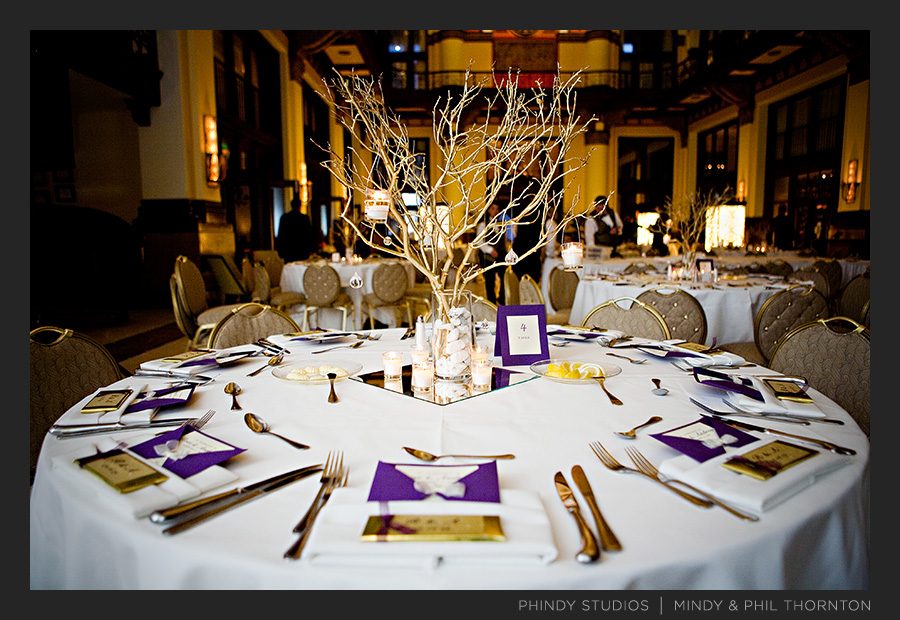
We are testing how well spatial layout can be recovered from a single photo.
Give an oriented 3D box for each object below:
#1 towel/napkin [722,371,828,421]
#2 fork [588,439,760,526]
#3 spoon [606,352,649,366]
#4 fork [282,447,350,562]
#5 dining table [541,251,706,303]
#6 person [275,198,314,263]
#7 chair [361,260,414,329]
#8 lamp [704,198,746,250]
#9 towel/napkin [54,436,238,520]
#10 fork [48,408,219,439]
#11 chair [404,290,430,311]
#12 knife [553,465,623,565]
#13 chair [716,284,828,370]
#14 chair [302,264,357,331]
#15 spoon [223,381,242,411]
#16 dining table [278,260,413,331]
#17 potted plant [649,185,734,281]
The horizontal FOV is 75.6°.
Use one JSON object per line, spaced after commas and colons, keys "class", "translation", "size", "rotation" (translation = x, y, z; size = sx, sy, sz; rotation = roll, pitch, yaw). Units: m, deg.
{"class": "towel/napkin", "translation": [0.929, 0.221, 1.737], "size": [0.248, 0.024, 0.271], "rotation": [-10, 27, 7]}
{"class": "fork", "translation": [0.499, 0.387, 1.293], "size": [0.046, 0.043, 0.308], "rotation": [-13, 20, -27]}
{"class": "spoon", "translation": [0.642, 0.167, 2.137], "size": [0.040, 0.035, 0.234], "rotation": [-13, 8, -24]}
{"class": "fork", "translation": [-0.286, 0.408, 1.262], "size": [0.037, 0.032, 0.272], "rotation": [-3, 29, 16]}
{"class": "dining table", "translation": [1.451, -0.284, 4.970], "size": [0.922, 0.324, 0.833], "rotation": [-1, 7, 8]}
{"class": "person", "translation": [-2.349, -1.178, 8.754], "size": [0.430, 1.254, 0.356], "rotation": [3, 51, -14]}
{"class": "chair", "translation": [-0.634, -0.117, 5.725], "size": [0.430, 0.770, 0.464], "rotation": [-4, 12, -15]}
{"class": "lamp", "translation": [2.513, -0.781, 5.339], "size": [0.309, 0.373, 0.313], "rotation": [5, 13, 22]}
{"class": "towel/napkin", "translation": [-0.647, 0.364, 1.332], "size": [0.197, 0.043, 0.199], "rotation": [16, 19, 40]}
{"class": "fork", "translation": [-0.844, 0.302, 1.553], "size": [0.262, 0.055, 0.028], "rotation": [-7, 15, -14]}
{"class": "chair", "translation": [-0.351, -0.105, 6.148], "size": [0.263, 0.177, 0.361], "rotation": [-2, 7, -9]}
{"class": "knife", "translation": [0.286, 0.434, 1.215], "size": [0.060, 0.018, 0.203], "rotation": [-9, 15, 1]}
{"class": "chair", "translation": [1.663, 0.078, 3.030], "size": [0.333, 0.544, 0.381], "rotation": [-7, 18, -14]}
{"class": "chair", "translation": [-1.162, -0.094, 5.525], "size": [0.442, 0.755, 0.477], "rotation": [-2, 14, 1]}
{"class": "spoon", "translation": [-0.653, 0.245, 1.758], "size": [0.042, 0.027, 0.206], "rotation": [-1, 11, -11]}
{"class": "dining table", "translation": [-0.897, -0.087, 5.824], "size": [0.837, 0.568, 0.988], "rotation": [-1, 2, -17]}
{"class": "potted plant", "translation": [2.758, -0.870, 6.900], "size": [0.622, 0.918, 0.717], "rotation": [9, -10, -15]}
